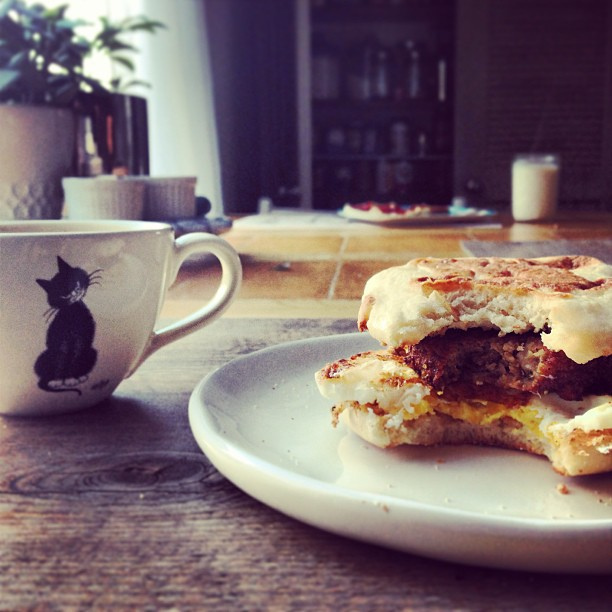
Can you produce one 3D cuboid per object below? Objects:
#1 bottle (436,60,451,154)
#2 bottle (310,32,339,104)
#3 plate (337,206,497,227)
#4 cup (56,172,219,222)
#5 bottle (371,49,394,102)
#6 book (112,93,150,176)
[{"bbox_3d":[0.826,-1.213,4.360,0.097,0.618,0.090,1,-9,0],"label":"bottle"},{"bbox_3d":[0.112,-1.425,4.294,0.164,0.426,0.215,0,16,0],"label":"bottle"},{"bbox_3d":[0.285,-0.222,1.793,0.309,0.029,0.238,-5,12,-23],"label":"plate"},{"bbox_3d":[-0.304,-0.180,1.278,0.239,0.087,0.298,-5,3,-21],"label":"cup"},{"bbox_3d":[0.448,-1.384,4.259,0.141,0.276,0.110,-2,17,-5],"label":"bottle"},{"bbox_3d":[-0.332,-0.329,1.348,0.098,0.138,0.015,23,33,29],"label":"book"}]
